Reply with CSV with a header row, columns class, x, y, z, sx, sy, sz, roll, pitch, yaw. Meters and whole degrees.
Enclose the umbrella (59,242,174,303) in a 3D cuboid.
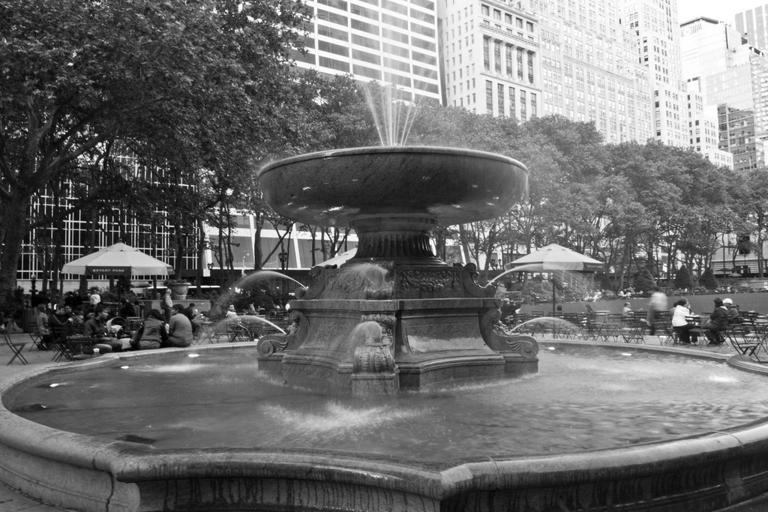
class,x,y,z,sx,sy,sz,roll,pitch,yaw
umbrella,-10.369,0.334,31.451,3.137,1.366,3.253,3,-8,-28
